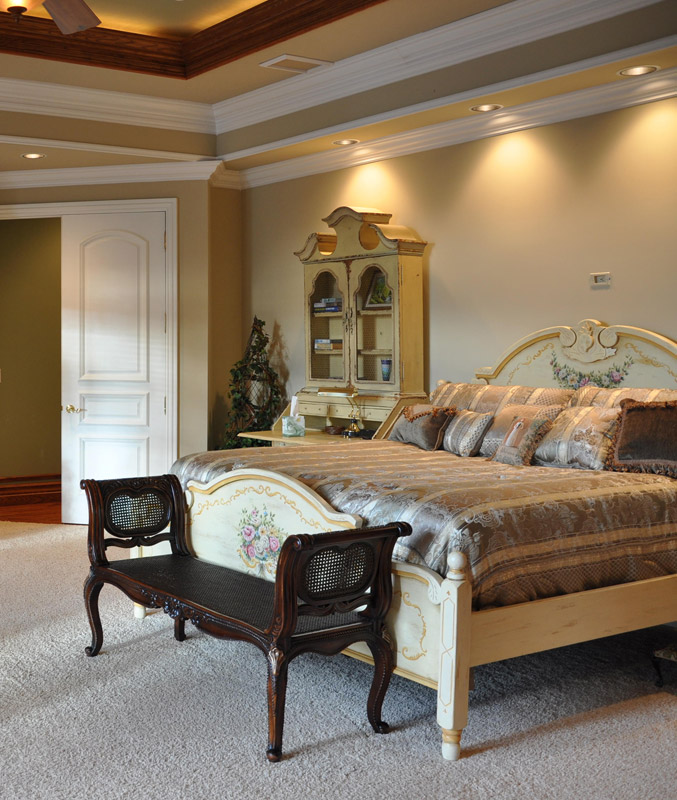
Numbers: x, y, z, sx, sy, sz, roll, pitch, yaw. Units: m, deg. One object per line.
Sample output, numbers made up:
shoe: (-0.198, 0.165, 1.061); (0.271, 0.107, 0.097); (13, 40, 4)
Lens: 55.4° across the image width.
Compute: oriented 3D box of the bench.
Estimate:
bench: (-0.444, 0.703, 2.336); (0.481, 0.629, 1.394); (2, -2, -45)

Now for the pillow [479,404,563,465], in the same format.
pillow: (0.896, 0.162, 3.199); (0.100, 0.294, 0.330); (36, -13, -18)

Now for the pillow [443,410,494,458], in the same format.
pillow: (0.694, 0.169, 3.465); (0.073, 0.225, 0.235); (27, -4, -23)
